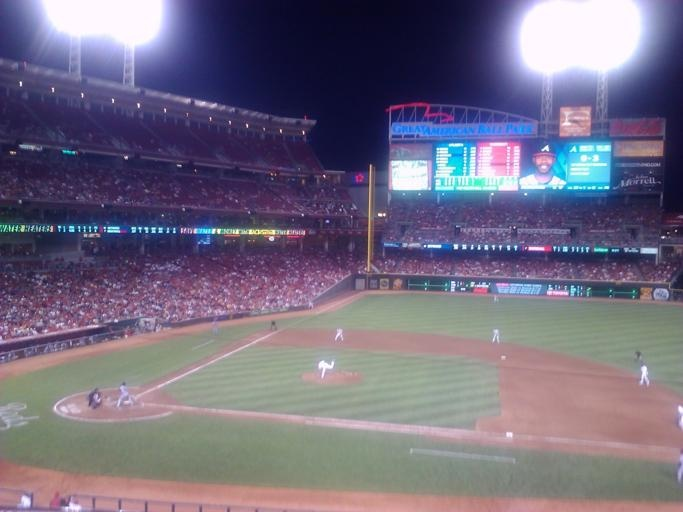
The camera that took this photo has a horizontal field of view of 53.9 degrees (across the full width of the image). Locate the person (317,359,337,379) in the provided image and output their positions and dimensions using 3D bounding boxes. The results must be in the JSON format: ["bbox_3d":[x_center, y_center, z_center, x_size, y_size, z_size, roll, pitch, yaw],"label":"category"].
[{"bbox_3d":[-0.987,7.777,46.482,1.033,1.043,2.120,0,1,-2],"label":"person"}]

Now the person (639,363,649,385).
[{"bbox_3d":[20.387,7.934,45.158,0.611,1.377,1.993,1,1,25],"label":"person"}]

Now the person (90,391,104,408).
[{"bbox_3d":[-15.178,9.002,41.833,0.888,0.370,0.715,-15,19,7],"label":"person"}]

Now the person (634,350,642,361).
[{"bbox_3d":[21.500,7.276,48.794,0.494,0.377,0.725,6,-28,17],"label":"person"}]
